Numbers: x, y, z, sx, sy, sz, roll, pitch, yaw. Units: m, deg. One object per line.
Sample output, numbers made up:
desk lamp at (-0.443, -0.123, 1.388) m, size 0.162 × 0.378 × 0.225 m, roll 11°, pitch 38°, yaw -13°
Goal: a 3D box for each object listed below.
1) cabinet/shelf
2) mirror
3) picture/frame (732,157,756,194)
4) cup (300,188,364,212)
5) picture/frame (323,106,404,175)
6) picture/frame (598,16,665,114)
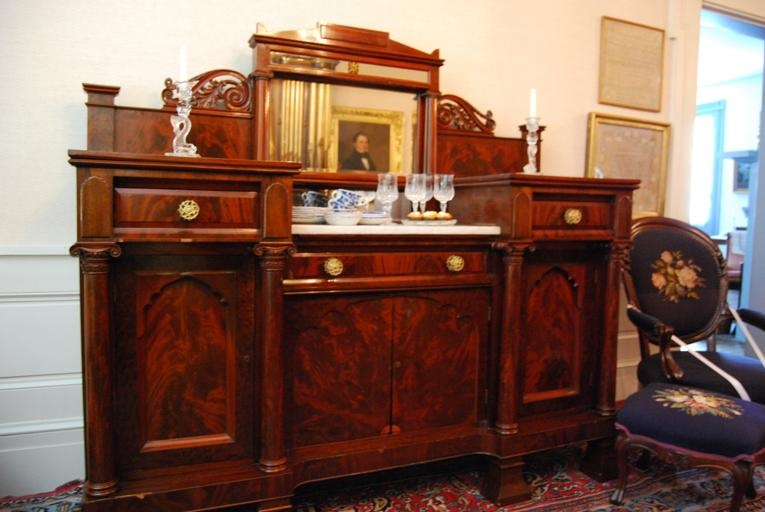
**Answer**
cabinet/shelf at (-0.218, 0.124, 2.946) m, size 2.904 × 2.385 × 0.887 m, roll -1°, pitch 1°, yaw -23°
mirror at (-0.253, -0.814, 3.249) m, size 1.156 × 0.854 × 0.151 m, roll -1°, pitch 2°, yaw -21°
picture/frame at (4.388, -0.966, 7.128) m, size 0.147 × 0.394 × 0.520 m, roll 2°, pitch 7°, yaw 27°
cup at (-0.262, -0.284, 2.954) m, size 0.246 × 0.091 × 0.163 m, roll 1°, pitch 1°, yaw 4°
picture/frame at (-0.136, -0.658, 3.335) m, size 0.492 × 0.371 × 0.037 m, roll 1°, pitch 1°, yaw -21°
picture/frame at (1.743, -1.359, 4.125) m, size 0.757 × 0.701 × 0.057 m, roll 6°, pitch -2°, yaw -23°
